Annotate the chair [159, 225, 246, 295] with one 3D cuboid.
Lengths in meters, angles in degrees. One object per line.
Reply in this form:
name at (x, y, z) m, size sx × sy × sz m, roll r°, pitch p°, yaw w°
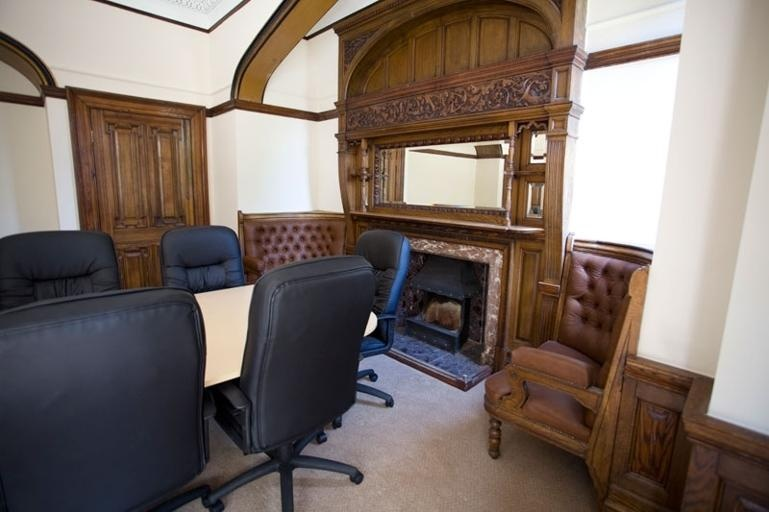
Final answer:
chair at (-1.412, -0.026, 4.009) m, size 0.509 × 0.756 × 0.617 m, roll -7°, pitch 7°, yaw -39°
